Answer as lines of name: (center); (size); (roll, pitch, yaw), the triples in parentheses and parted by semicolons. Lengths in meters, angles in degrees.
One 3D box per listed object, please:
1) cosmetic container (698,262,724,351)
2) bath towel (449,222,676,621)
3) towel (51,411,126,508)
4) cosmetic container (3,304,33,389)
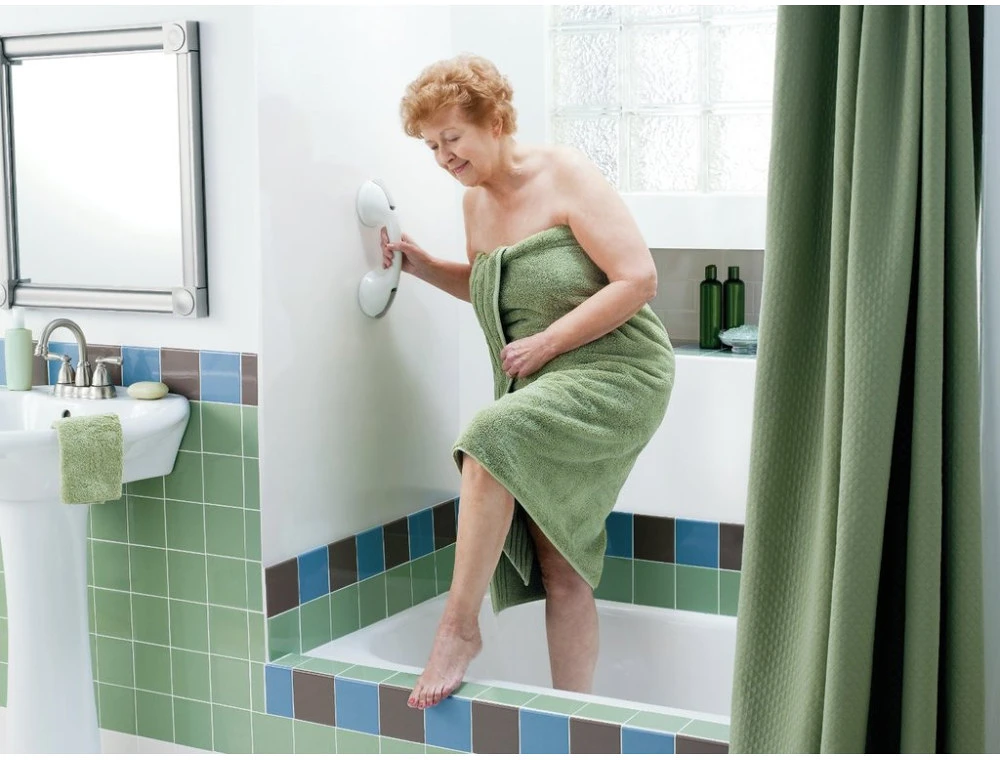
cosmetic container: (0.620, -0.215, 2.745); (0.074, 0.235, 0.057); (0, 4, -2)
bath towel: (0.153, 0.076, 2.243); (0.511, 0.888, 0.409); (1, 4, 10)
towel: (-0.907, 0.163, 2.066); (0.138, 0.201, 0.065); (0, 2, -45)
cosmetic container: (-1.242, -0.082, 2.393); (0.056, 0.207, 0.102); (-3, 5, -32)
